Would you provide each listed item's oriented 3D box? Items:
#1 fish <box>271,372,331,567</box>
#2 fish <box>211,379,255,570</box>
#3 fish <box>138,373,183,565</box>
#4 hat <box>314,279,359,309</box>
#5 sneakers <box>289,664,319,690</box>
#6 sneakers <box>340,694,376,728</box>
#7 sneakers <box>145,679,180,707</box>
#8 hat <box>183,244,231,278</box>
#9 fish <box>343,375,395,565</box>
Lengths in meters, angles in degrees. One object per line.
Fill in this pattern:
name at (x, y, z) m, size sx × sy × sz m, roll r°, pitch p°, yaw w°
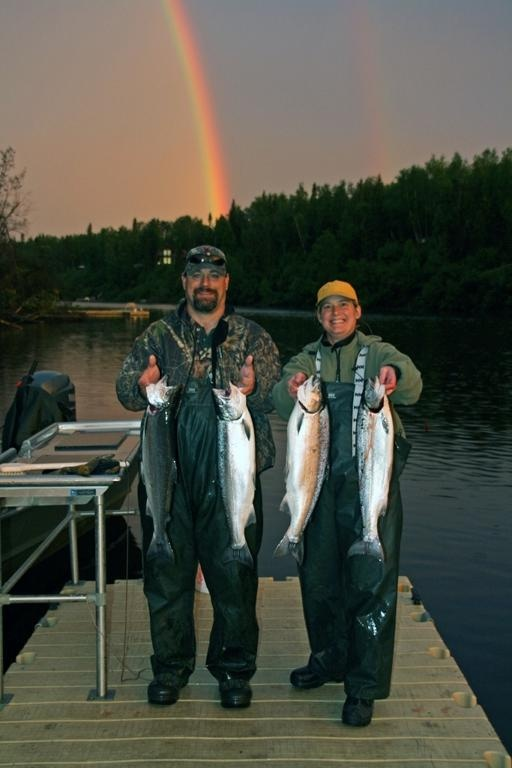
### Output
fish at (0.233, 0.426, 3.640) m, size 0.252 × 0.928 × 0.285 m, roll 1°, pitch 2°, yaw 5°
fish at (-0.107, 0.443, 3.557) m, size 0.200 × 0.866 × 0.175 m, roll 1°, pitch 2°, yaw -2°
fish at (-0.477, 0.413, 3.602) m, size 0.172 × 0.868 × 0.136 m, roll 0°, pitch 2°, yaw -8°
hat at (0.424, -0.466, 3.849) m, size 0.140 × 0.092 × 0.183 m, roll -3°, pitch -23°, yaw 7°
sneakers at (0.254, 1.538, 3.882) m, size 0.147 × 0.047 × 0.106 m, roll -3°, pitch 6°, yaw -34°
sneakers at (0.477, 1.511, 3.432) m, size 0.106 × 0.161 × 0.167 m, roll 3°, pitch -26°, yaw 11°
sneakers at (-0.459, 1.512, 3.678) m, size 0.171 × 0.120 × 0.170 m, roll 0°, pitch 1°, yaw -8°
hat at (-0.257, -0.623, 3.823) m, size 0.155 × 0.108 × 0.213 m, roll 2°, pitch 15°, yaw -2°
fish at (0.544, 0.406, 3.516) m, size 0.194 × 0.838 × 0.123 m, roll 1°, pitch 2°, yaw 10°
